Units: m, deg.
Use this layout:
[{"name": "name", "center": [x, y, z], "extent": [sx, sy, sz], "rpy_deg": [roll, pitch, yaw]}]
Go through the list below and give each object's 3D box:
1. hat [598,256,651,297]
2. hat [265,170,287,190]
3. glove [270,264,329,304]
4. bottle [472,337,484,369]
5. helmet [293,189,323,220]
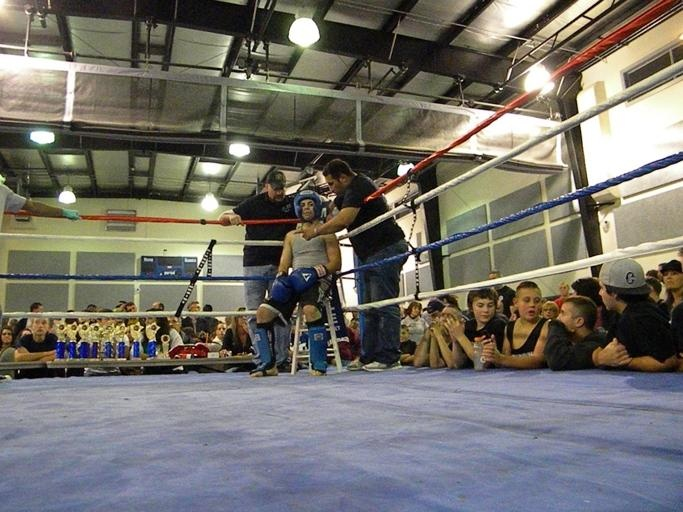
[{"name": "hat", "center": [1.389, 0.086, 2.289], "extent": [0.223, 0.111, 0.243], "rpy_deg": [-11, 20, -8]}, {"name": "hat", "center": [-0.594, -0.688, 4.209], "extent": [0.182, 0.105, 0.236], "rpy_deg": [2, 5, -24]}, {"name": "glove", "center": [-0.253, 0.169, 3.248], "extent": [0.291, 0.151, 0.353], "rpy_deg": [-16, 10, 32]}, {"name": "bottle", "center": [0.808, 0.592, 2.755], "extent": [0.057, 0.151, 0.088], "rpy_deg": [-6, -11, 13]}, {"name": "helmet", "center": [-0.243, -0.394, 3.507], "extent": [0.244, 0.212, 0.226], "rpy_deg": [1, -4, 2]}]
